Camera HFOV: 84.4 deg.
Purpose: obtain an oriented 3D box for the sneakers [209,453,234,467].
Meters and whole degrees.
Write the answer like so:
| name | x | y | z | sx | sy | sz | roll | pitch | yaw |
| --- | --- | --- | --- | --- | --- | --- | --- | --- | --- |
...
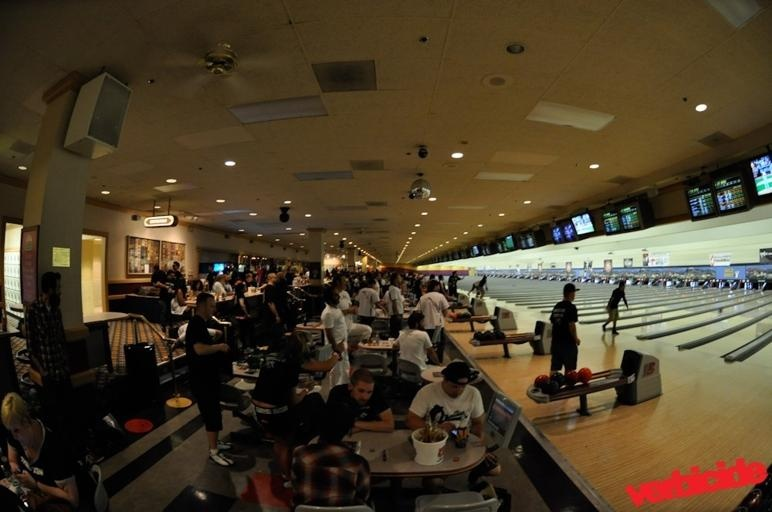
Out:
| name | x | y | z | sx | sy | sz | roll | pitch | yaw |
| --- | --- | --- | --- | --- | --- | --- | --- | --- | --- |
| sneakers | -2.144 | 2.625 | 5.559 | 0.334 | 0.117 | 0.147 | 7 | -1 | 10 |

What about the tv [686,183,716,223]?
| name | x | y | z | sx | sy | sz | roll | pitch | yaw |
| --- | --- | --- | --- | --- | --- | --- | --- | --- | --- |
| tv | 5.817 | -0.995 | 7.744 | 0.228 | 0.643 | 0.549 | 1 | -3 | -1 |

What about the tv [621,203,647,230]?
| name | x | y | z | sx | sy | sz | roll | pitch | yaw |
| --- | --- | --- | --- | --- | --- | --- | --- | --- | --- |
| tv | 5.455 | -0.861 | 9.222 | 0.300 | 0.556 | 0.604 | 0 | -5 | -7 |

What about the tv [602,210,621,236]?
| name | x | y | z | sx | sy | sz | roll | pitch | yaw |
| --- | --- | --- | --- | --- | --- | --- | --- | --- | --- |
| tv | 5.273 | -0.765 | 9.785 | 0.085 | 0.741 | 0.644 | 5 | -3 | -20 |

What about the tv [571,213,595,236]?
| name | x | y | z | sx | sy | sz | roll | pitch | yaw |
| --- | --- | --- | --- | --- | --- | --- | --- | --- | --- |
| tv | 5.024 | -0.788 | 10.669 | 0.088 | 0.449 | 0.637 | -13 | 0 | -11 |

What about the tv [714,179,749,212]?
| name | x | y | z | sx | sy | sz | roll | pitch | yaw |
| --- | --- | --- | --- | --- | --- | --- | --- | --- | --- |
| tv | 5.940 | -1.026 | 7.200 | 0.093 | 0.644 | 0.500 | -6 | -10 | -20 |

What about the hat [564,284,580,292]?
| name | x | y | z | sx | sy | sz | roll | pitch | yaw |
| --- | --- | --- | --- | --- | --- | --- | --- | --- | --- |
| hat | 3.057 | 0.542 | 6.932 | 0.187 | 0.138 | 0.276 | 3 | 10 | 38 |

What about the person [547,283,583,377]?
| name | x | y | z | sx | sy | sz | roll | pitch | yaw |
| --- | --- | --- | --- | --- | --- | --- | --- | --- | --- |
| person | 2.951 | 1.232 | 6.970 | 0.416 | 1.560 | 1.408 | -1 | -3 | 23 |

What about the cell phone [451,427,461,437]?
| name | x | y | z | sx | sy | sz | roll | pitch | yaw |
| --- | --- | --- | --- | --- | --- | --- | --- | --- | --- |
| cell phone | 0.790 | 1.946 | 4.703 | 0.105 | 0.025 | 0.104 | -2 | 4 | 13 |
